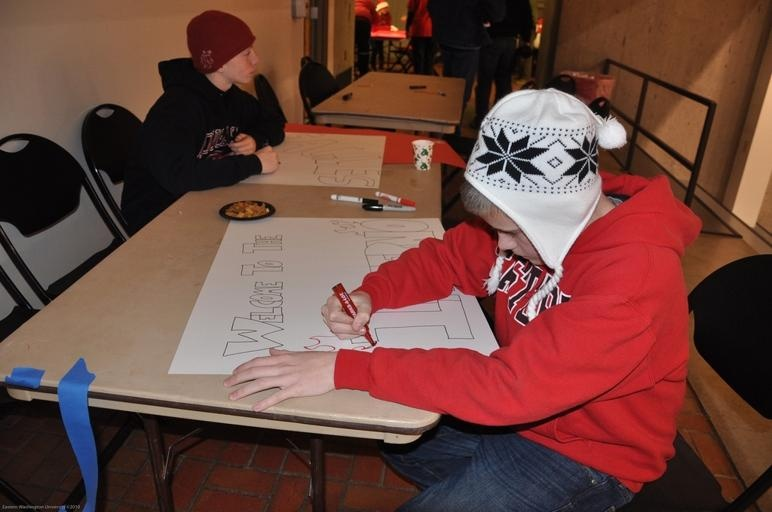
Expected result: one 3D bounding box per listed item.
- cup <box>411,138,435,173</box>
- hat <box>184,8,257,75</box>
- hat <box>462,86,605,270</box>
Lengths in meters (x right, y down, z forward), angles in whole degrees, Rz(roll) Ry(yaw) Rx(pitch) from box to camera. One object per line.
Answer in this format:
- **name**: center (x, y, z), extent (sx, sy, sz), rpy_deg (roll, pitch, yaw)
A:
- **cup**: center (0.193, -0.528, 2.653), extent (0.153, 0.154, 0.157), rpy_deg (-1, 19, 0)
- **hat**: center (-0.869, -1.127, 2.704), extent (0.324, 0.252, 0.322), rpy_deg (12, 48, -5)
- **hat**: center (0.391, -0.255, 1.522), extent (0.466, 0.422, 0.400), rpy_deg (-4, 29, -2)
